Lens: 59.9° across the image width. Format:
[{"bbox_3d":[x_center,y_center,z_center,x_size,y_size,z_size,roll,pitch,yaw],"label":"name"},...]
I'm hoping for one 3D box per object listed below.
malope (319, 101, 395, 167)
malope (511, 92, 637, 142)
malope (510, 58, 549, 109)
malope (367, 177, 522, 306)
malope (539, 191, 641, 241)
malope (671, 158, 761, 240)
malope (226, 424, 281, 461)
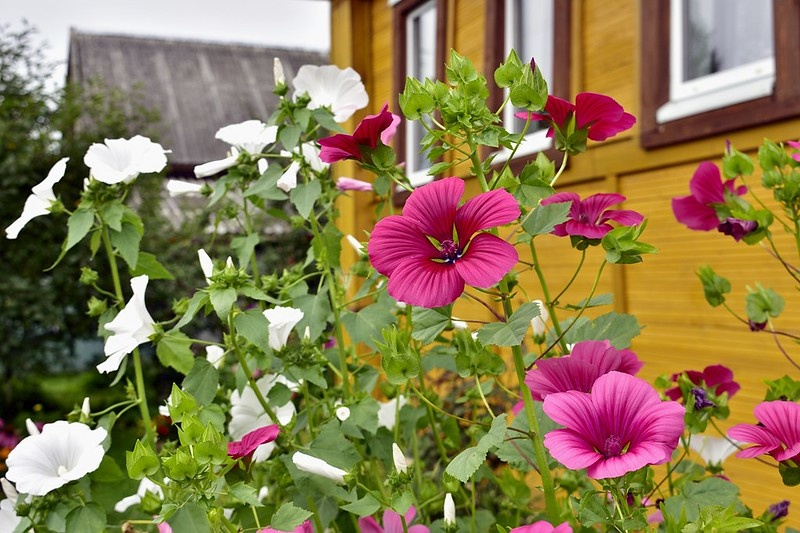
[{"bbox_3d":[-0.098,-0.392,1.899,0.169,0.093,0.177,-22,0,37],"label":"malope"},{"bbox_3d":[0.451,-0.412,1.927,0.318,0.131,0.382,-4,14,-24],"label":"malope"},{"bbox_3d":[0.344,-0.476,1.826,0.094,0.136,0.124,2,4,14],"label":"malope"},{"bbox_3d":[0.114,-0.068,1.780,0.387,0.290,0.173,-7,13,10],"label":"malope"},{"bbox_3d":[0.557,-0.157,1.988,0.232,0.147,0.367,-1,16,32],"label":"malope"},{"bbox_3d":[0.964,-0.201,2.106,0.221,0.250,0.098,-22,-8,33],"label":"malope"},{"bbox_3d":[-0.385,0.461,1.844,0.100,0.032,0.099,-32,10,-36],"label":"malope"}]
